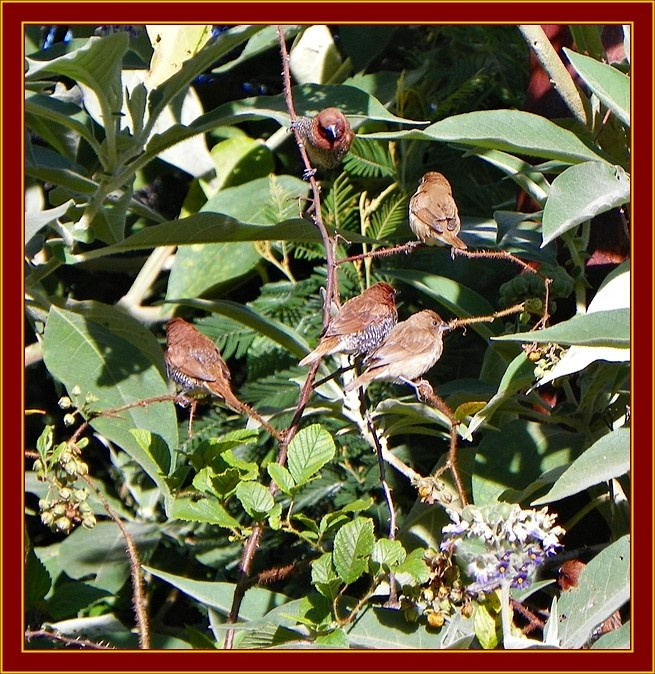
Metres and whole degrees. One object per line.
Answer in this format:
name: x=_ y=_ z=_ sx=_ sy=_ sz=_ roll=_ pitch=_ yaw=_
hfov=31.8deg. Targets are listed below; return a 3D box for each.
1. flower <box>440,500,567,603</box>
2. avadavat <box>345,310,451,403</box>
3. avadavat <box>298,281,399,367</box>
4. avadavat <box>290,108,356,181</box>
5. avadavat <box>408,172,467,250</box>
flower: x=0.268 y=0.298 z=1.721 sx=0.155 sy=0.155 sz=0.096 roll=41 pitch=0 yaw=12
avadavat: x=0.132 y=0.033 z=2.078 sx=0.231 sy=0.148 sz=0.084 roll=-7 pitch=0 yaw=-27
avadavat: x=0.051 y=-0.019 z=2.112 sx=0.294 sy=0.125 sz=0.088 roll=-12 pitch=-4 yaw=-44
avadavat: x=-0.001 y=-0.380 z=2.263 sx=0.149 sy=0.120 sz=0.265 roll=7 pitch=7 yaw=-1
avadavat: x=0.235 y=-0.255 z=2.373 sx=0.102 sy=0.154 sz=0.312 roll=1 pitch=17 yaw=-6
